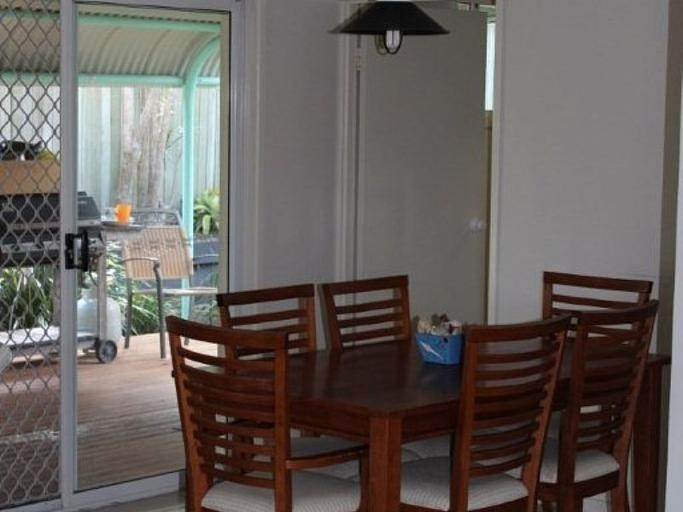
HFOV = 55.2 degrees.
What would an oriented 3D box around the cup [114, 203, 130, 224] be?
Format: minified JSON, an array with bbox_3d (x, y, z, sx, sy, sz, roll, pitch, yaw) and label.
[{"bbox_3d":[-1.244,-0.245,3.718,0.102,0.117,0.066,-1,6,-22],"label":"cup"}]

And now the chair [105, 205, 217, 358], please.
[{"bbox_3d":[-1.121,0.135,3.723,0.447,0.796,0.542,-2,1,20],"label":"chair"}]
